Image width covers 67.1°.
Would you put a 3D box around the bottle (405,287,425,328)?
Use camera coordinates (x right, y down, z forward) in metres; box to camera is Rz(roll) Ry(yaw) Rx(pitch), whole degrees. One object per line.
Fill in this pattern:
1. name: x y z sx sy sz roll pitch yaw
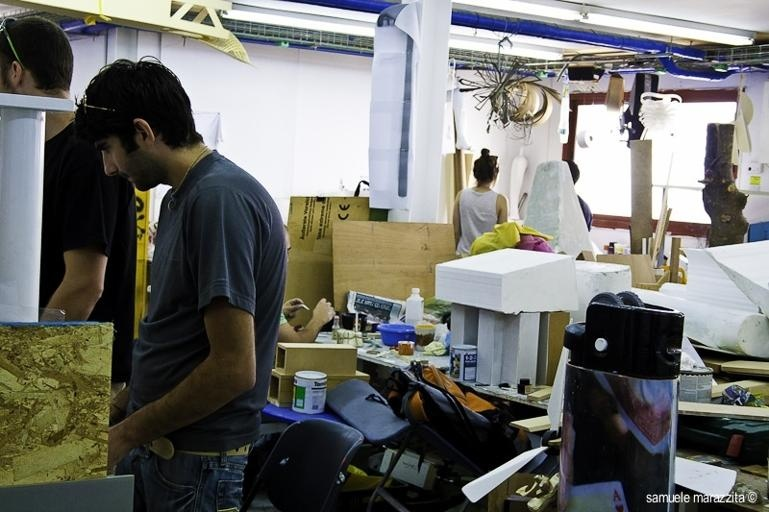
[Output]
1. bottle: 0.208 0.335 3.952 0.128 0.244 0.215 2 6 1

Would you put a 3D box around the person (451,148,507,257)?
1. person: 0.915 -0.512 5.549 0.507 0.984 0.364 3 6 9

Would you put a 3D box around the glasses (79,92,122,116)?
1. glasses: -0.824 -0.428 1.659 0.075 0.024 0.070 4 6 -5

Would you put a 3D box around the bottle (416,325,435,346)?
1. bottle: 0.259 0.509 3.721 0.126 0.135 0.124 1 -1 -18
